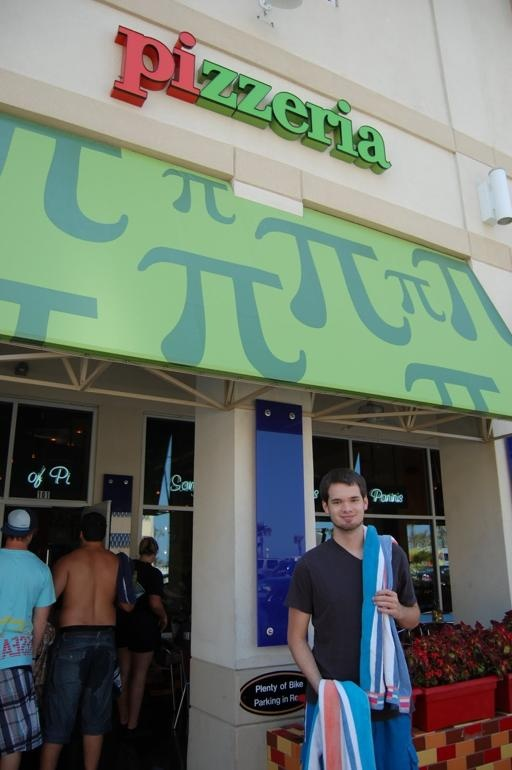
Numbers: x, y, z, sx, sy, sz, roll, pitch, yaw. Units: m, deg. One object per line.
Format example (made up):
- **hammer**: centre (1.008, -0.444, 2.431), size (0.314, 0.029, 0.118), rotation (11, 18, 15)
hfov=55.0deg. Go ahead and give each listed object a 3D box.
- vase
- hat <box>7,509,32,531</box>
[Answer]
- **vase**: centre (1.197, 1.971, 3.002), size (0.432, 0.212, 0.443), rotation (9, -25, -31)
- **hat**: centre (-1.597, 0.911, 3.245), size (0.170, 0.144, 0.134), rotation (-4, -14, 18)
